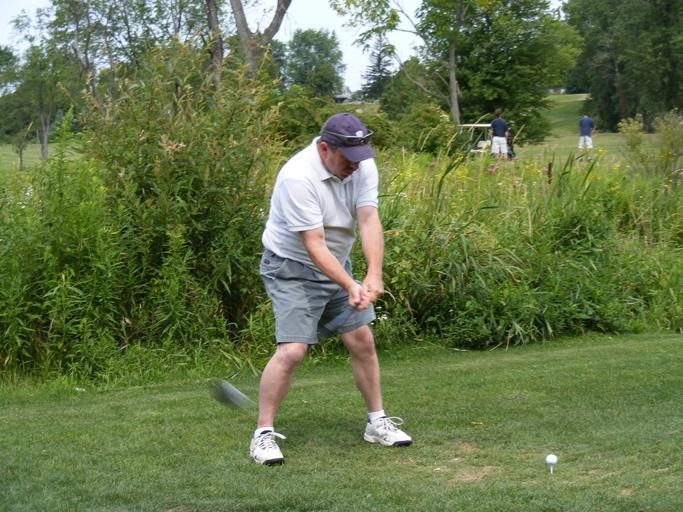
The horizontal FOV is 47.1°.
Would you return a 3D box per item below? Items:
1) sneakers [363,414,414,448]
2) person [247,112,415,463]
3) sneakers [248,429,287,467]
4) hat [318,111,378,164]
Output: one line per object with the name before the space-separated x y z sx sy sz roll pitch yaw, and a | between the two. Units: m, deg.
sneakers | 0.367 1.364 6.131 0.349 0.149 0.208 1 2 17
person | -0.114 0.215 5.929 1.207 2.521 0.888 -4 15 -8
sneakers | -0.538 1.412 5.780 0.193 0.128 0.299 1 -2 -26
hat | 0.072 -0.895 5.779 0.414 0.231 0.296 35 30 17
